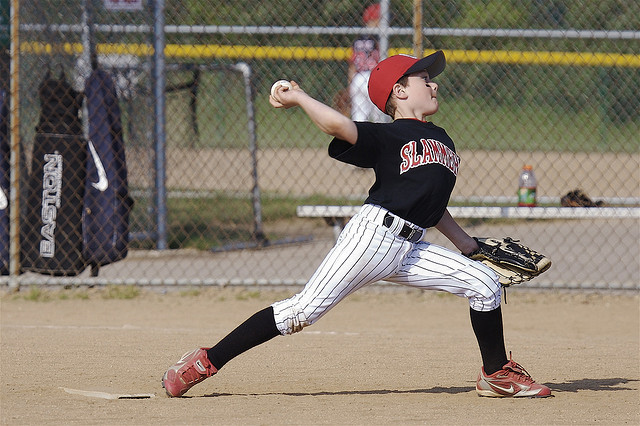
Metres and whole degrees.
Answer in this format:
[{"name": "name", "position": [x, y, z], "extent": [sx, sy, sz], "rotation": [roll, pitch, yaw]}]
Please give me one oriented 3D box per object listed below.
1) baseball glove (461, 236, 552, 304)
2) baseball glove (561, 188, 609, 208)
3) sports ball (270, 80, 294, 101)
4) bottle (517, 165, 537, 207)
[{"name": "baseball glove", "position": [1.313, 0.321, 7.475], "extent": [0.465, 0.184, 0.473], "rotation": [25, 35, 14]}, {"name": "baseball glove", "position": [2.397, -0.111, 9.635], "extent": [0.276, 0.109, 0.211], "rotation": [5, -4, 2]}, {"name": "sports ball", "position": [-0.267, -0.831, 7.199], "extent": [0.131, 0.134, 0.175], "rotation": [-3, 8, -26]}, {"name": "bottle", "position": [1.996, -0.256, 10.160], "extent": [0.254, 0.396, 0.260], "rotation": [1, 3, 0]}]
